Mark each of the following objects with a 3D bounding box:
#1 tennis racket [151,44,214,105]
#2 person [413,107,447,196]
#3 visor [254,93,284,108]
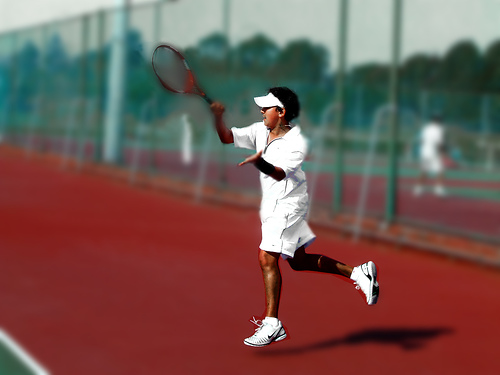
[{"bbox_3d":[-0.521,-0.843,3.794,0.118,0.249,0.817,3,40,-46],"label":"tennis racket"},{"bbox_3d":[2.020,-0.402,5.862,0.344,0.971,0.459,4,12,18],"label":"person"},{"bbox_3d":[0.115,-0.538,3.239,0.136,0.046,0.092,6,43,-14],"label":"visor"}]
